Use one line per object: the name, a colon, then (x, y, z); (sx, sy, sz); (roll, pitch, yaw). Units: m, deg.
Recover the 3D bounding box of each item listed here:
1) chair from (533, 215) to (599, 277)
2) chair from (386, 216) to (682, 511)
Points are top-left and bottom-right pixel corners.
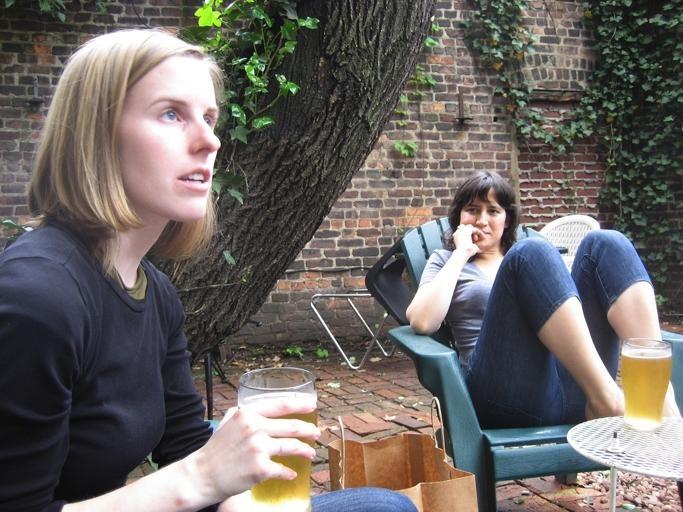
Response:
chair: (1.183, -0.066, 2.848); (0.293, 0.312, 0.295); (-20, 22, -21)
chair: (0.570, 0.379, 2.356); (0.990, 0.929, 1.101); (1, -6, -15)
